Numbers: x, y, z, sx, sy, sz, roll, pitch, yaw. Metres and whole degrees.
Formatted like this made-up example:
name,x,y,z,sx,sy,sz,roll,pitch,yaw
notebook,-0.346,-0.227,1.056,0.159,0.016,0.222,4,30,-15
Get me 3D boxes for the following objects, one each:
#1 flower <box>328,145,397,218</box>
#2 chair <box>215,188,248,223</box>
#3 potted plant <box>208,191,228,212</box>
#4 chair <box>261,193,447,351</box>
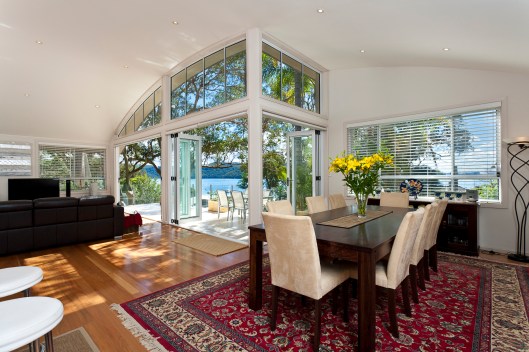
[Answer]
name,x,y,z,sx,sy,sz,roll,pitch,yaw
flower,1.513,0.166,5.180,0.976,0.957,0.839,3,-1,-8
chair,-0.806,0.785,9.137,0.775,1.203,0.888,1,2,40
potted plant,-1.429,0.806,10.041,0.369,0.449,0.676,-2,3,-36
chair,1.395,1.250,4.577,2.582,1.693,1.401,-1,0,-44
